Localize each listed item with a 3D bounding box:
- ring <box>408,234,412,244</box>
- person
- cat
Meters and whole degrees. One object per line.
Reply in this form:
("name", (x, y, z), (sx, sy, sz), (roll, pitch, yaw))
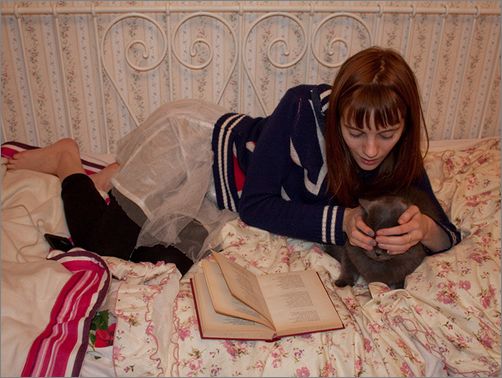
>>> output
("ring", (0.578, 0.180, 1.522), (0.005, 0.022, 0.021), (-12, 41, -3))
("person", (-0.016, -0.205, 1.985), (1.903, 1.051, 0.829), (4, 38, 12))
("cat", (0.575, 0.199, 1.836), (0.312, 0.426, 0.531), (13, 31, 20))
